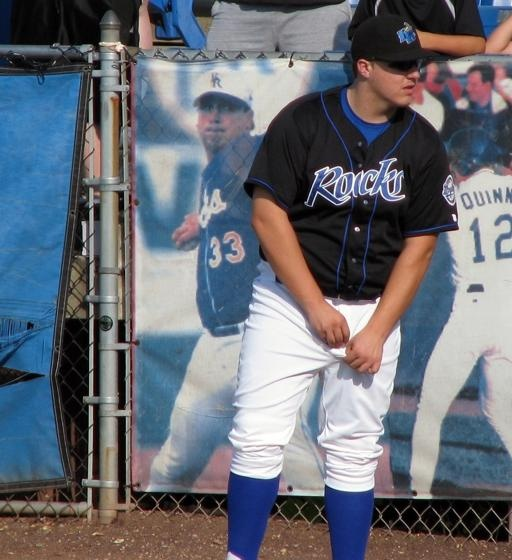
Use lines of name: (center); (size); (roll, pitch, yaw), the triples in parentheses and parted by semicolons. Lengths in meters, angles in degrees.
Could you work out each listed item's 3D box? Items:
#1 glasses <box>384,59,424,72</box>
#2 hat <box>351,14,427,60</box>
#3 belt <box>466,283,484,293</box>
glasses: (0.604, -0.885, 5.618); (0.151, 0.052, 0.056); (-1, 15, -26)
hat: (0.546, -1.028, 5.653); (0.237, 0.144, 0.184); (15, 22, 33)
belt: (1.066, 0.038, 6.615); (0.063, 0.046, 0.015); (-1, -5, 7)
